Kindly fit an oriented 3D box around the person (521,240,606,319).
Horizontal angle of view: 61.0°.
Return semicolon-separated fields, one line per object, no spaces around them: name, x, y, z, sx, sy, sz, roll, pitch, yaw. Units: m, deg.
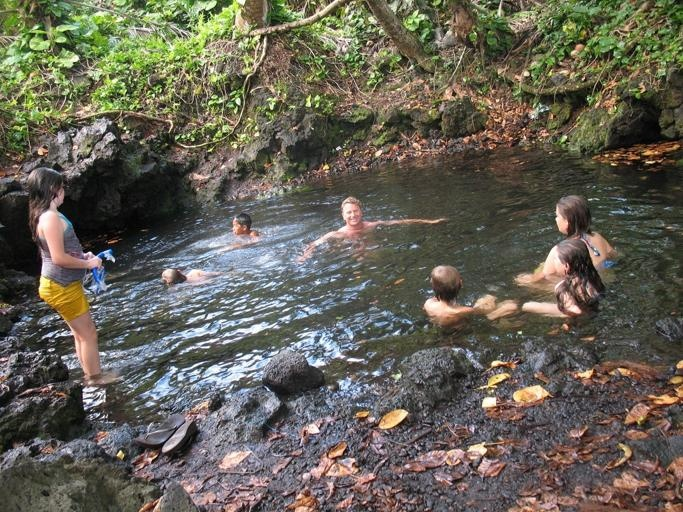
person;2.868;0.273;7.323;0.908;0.903;1.095;8;32;46

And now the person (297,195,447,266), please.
person;0.609;-0.426;10.310;1.790;0.401;0.472;-19;31;-10

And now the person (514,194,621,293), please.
person;3.109;-0.129;7.933;1.358;0.964;0.666;-25;34;-4

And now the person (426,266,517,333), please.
person;1.620;0.501;7.922;1.172;0.823;1.539;5;16;21
